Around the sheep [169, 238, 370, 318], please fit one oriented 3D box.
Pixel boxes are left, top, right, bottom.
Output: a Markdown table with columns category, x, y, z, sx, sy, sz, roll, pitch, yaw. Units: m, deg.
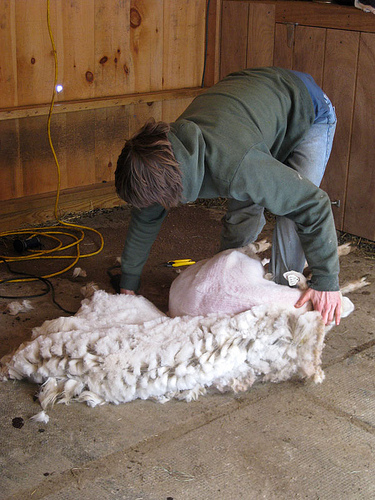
| category | x | y | z | sx | sy | sz | roll | pitch | yaw |
| --- | --- | --- | --- | --- | --- | --- | --- | --- | --- |
| sheep | 0.272 | 0.171 | 1.948 | 0.562 | 0.136 | 0.336 | -13 | 30 | -4 |

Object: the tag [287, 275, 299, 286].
| category | x | y | z | sx | sy | sz | roll | pitch | yaw |
| --- | --- | --- | --- | --- | --- | --- | --- | --- | --- |
| tag | 0.377 | 0.110 | 1.918 | 0.040 | 0.032 | 0.007 | -1 | 36 | 20 |

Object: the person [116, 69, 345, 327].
| category | x | y | z | sx | sy | sz | roll | pitch | yaw |
| --- | --- | --- | --- | --- | --- | --- | --- | --- | --- |
| person | 0.187 | -0.191 | 1.894 | 0.866 | 0.887 | 0.823 | 0 | 17 | -7 |
